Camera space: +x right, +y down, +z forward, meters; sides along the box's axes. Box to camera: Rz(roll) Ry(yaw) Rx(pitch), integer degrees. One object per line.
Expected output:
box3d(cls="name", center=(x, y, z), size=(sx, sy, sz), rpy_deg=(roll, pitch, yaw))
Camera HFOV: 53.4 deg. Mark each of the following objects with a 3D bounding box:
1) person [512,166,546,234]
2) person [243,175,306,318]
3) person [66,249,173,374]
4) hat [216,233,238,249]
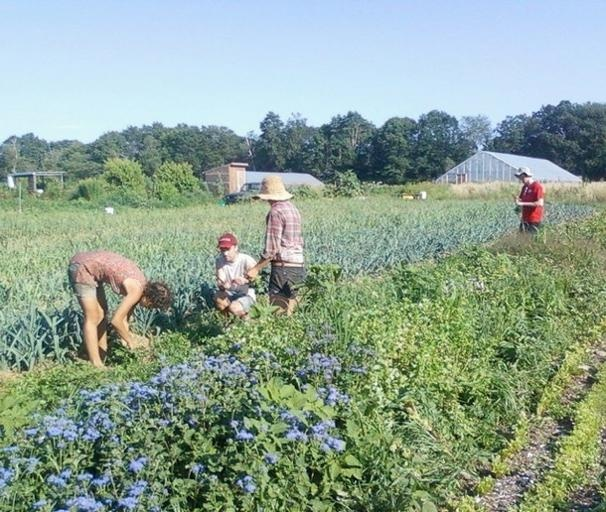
box3d(cls="person", center=(4.536, -1.072, 12.089), size=(0.583, 1.284, 1.662), rpy_deg=(4, 14, 19))
box3d(cls="person", center=(-0.321, -0.137, 7.497), size=(0.667, 1.649, 0.678), rpy_deg=(1, 12, 4))
box3d(cls="person", center=(-2.115, 0.657, 6.760), size=(1.126, 1.399, 0.590), rpy_deg=(4, 13, 15))
box3d(cls="hat", center=(-0.953, -0.175, 7.580), size=(0.224, 0.184, 0.371), rpy_deg=(-1, 13, -5))
